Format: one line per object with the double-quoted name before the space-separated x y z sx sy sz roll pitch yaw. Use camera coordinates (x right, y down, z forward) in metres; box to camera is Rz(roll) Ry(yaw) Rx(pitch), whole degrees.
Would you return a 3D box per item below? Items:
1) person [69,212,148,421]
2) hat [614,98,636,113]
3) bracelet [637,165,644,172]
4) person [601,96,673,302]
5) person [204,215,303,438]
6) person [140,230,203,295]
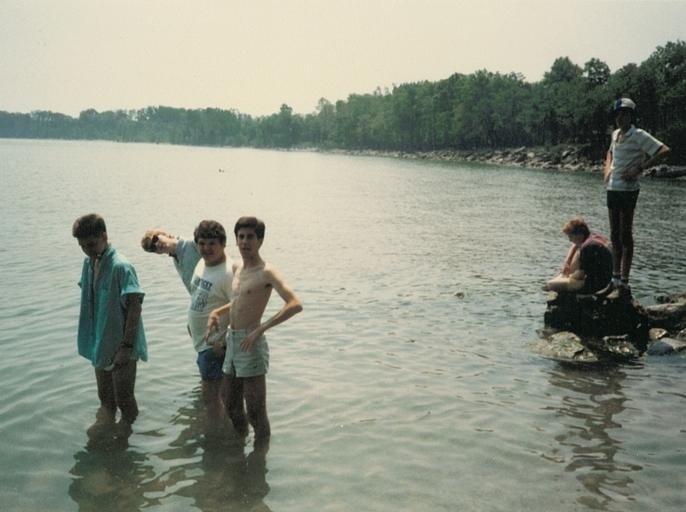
"person" -3.910 1.132 11.865 1.211 3.693 0.697 8 14 28
"hat" 6.014 -3.330 15.096 0.390 0.260 0.532 2 4 13
"bracelet" 6.286 -1.878 14.891 0.118 0.114 0.114 4 11 -4
"person" 6.215 -1.241 15.518 0.855 4.407 1.406 -3 13 -17
"person" -1.451 1.314 11.601 0.750 3.856 1.268 -11 17 -43
"person" -3.068 0.046 13.034 0.675 0.853 1.658 7 -26 0
